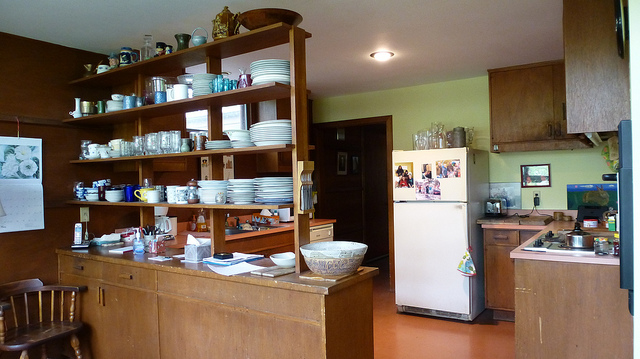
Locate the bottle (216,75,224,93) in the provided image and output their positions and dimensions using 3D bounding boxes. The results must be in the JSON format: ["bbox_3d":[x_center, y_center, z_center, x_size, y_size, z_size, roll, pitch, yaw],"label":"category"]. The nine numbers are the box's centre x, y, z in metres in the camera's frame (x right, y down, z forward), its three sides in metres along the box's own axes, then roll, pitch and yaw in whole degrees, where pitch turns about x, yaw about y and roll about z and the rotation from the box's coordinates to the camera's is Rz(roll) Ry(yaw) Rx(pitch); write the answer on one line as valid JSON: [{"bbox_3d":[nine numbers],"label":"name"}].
[{"bbox_3d":[-0.981,-0.947,4.498,0.070,0.166,0.082,-4,10,-4],"label":"bottle"}]

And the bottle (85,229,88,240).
[{"bbox_3d":[-2.822,0.664,5.508,0.037,0.114,0.081,-8,11,-25],"label":"bottle"}]

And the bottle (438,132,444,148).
[{"bbox_3d":[1.740,-0.571,6.572,0.069,0.213,0.157,0,10,19],"label":"bottle"}]

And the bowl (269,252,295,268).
[{"bbox_3d":[-0.359,0.763,4.429,0.222,0.116,0.251,-3,9,-5],"label":"bowl"}]

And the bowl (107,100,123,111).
[{"bbox_3d":[-2.332,-0.840,5.184,0.142,0.090,0.135,1,6,0],"label":"bowl"}]

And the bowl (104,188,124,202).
[{"bbox_3d":[-2.346,0.175,5.213,0.179,0.109,0.166,2,2,0],"label":"bowl"}]

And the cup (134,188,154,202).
[{"bbox_3d":[-1.996,0.161,5.115,0.216,0.132,0.129,-1,-1,16],"label":"cup"}]

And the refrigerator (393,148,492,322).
[{"bbox_3d":[1.682,0.722,6.447,1.296,2.333,0.873,0,10,17],"label":"refrigerator"}]

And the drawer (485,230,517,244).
[{"bbox_3d":[2.469,0.780,6.215,0.392,0.204,0.052,1,11,22],"label":"drawer"}]

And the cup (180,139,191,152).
[{"bbox_3d":[-1.404,-0.353,4.736,0.167,0.127,0.100,3,11,33],"label":"cup"}]

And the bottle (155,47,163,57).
[{"bbox_3d":[-1.749,-1.372,4.935,0.098,0.111,0.044,3,-1,5],"label":"bottle"}]

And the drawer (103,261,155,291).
[{"bbox_3d":[-2.001,1.001,4.798,0.378,0.079,0.332,1,-1,32],"label":"drawer"}]

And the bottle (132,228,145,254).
[{"bbox_3d":[-2.002,0.674,5.018,0.127,0.259,0.174,-7,10,-21],"label":"bottle"}]

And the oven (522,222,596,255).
[{"bbox_3d":[2.540,0.584,4.856,0.642,0.236,0.757,2,9,25],"label":"oven"}]

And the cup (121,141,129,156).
[{"bbox_3d":[-2.219,-0.354,5.196,0.115,0.162,0.049,3,12,32],"label":"cup"}]

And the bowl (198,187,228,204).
[{"bbox_3d":[-1.069,0.153,4.585,0.281,0.173,0.133,-4,9,-8],"label":"bowl"}]

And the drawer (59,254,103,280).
[{"bbox_3d":[-2.665,0.974,5.130,0.413,0.114,0.290,1,-1,28],"label":"drawer"}]

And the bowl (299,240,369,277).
[{"bbox_3d":[0.133,0.734,4.258,0.640,0.223,0.634,-1,-1,0],"label":"bowl"}]

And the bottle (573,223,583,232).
[{"bbox_3d":[2.730,0.505,4.842,0.094,0.073,0.086,0,-3,0],"label":"bottle"}]

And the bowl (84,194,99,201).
[{"bbox_3d":[-2.665,0.208,5.310,0.173,0.075,0.039,0,10,14],"label":"bowl"}]

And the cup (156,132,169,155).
[{"bbox_3d":[-1.685,-0.383,4.832,0.206,0.225,0.106,2,11,25],"label":"cup"}]

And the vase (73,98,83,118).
[{"bbox_3d":[-2.875,-0.849,5.399,0.099,0.228,0.144,-9,11,-30],"label":"vase"}]

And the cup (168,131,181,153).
[{"bbox_3d":[-1.539,-0.400,4.817,0.123,0.215,0.075,-5,10,-11],"label":"cup"}]

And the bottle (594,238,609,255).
[{"bbox_3d":[2.769,0.660,4.493,0.170,0.199,0.158,1,-5,0],"label":"bottle"}]

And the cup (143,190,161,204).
[{"bbox_3d":[-1.835,0.193,4.970,0.164,0.103,0.121,0,0,-12],"label":"cup"}]

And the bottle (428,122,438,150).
[{"bbox_3d":[1.614,-0.567,6.539,0.125,0.240,0.193,5,12,39],"label":"bottle"}]

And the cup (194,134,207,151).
[{"bbox_3d":[-1.237,-0.380,4.673,0.125,0.162,0.114,-3,9,0],"label":"cup"}]
